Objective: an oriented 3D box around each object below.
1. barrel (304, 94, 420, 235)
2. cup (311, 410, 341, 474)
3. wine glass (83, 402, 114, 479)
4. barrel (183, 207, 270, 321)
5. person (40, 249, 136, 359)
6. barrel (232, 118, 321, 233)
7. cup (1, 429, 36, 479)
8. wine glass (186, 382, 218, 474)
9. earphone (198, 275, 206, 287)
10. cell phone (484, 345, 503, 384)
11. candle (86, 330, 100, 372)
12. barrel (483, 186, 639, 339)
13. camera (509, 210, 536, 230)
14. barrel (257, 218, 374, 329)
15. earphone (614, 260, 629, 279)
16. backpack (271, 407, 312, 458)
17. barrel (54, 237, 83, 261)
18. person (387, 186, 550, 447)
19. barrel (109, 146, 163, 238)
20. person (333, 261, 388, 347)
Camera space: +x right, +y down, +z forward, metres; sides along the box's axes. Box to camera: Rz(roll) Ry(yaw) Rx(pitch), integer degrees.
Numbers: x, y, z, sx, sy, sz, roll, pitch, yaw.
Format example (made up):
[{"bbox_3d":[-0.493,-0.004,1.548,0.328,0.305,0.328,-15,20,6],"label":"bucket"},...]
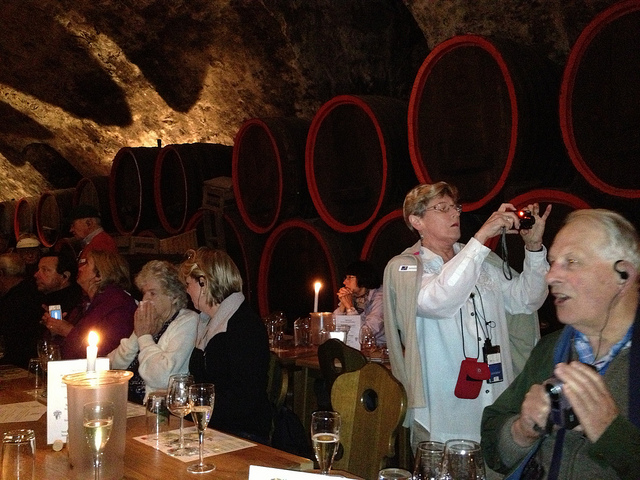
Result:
[{"bbox_3d":[0.325,-0.707,4.566,0.714,1.262,1.044,-3,8,-18],"label":"barrel"},{"bbox_3d":[0.017,0.739,1.833,0.100,0.229,0.267,2,-10,1],"label":"cup"},{"bbox_3d":[-0.800,0.716,1.813,0.092,0.286,0.153,6,-10,-25],"label":"wine glass"},{"bbox_3d":[-1.384,0.246,6.211,1.050,1.305,1.636,-1,0,17],"label":"barrel"},{"bbox_3d":[-2.026,0.560,4.388,0.469,0.862,0.434,12,-37,-17],"label":"person"},{"bbox_3d":[-0.438,-0.707,5.813,1.086,1.163,1.150,-22,-14,39],"label":"barrel"},{"bbox_3d":[-0.999,0.706,1.691,0.100,0.140,0.182,8,-11,-31],"label":"cup"},{"bbox_3d":[-0.497,0.767,2.140,0.131,0.334,0.289,5,-10,-16],"label":"wine glass"},{"bbox_3d":[-0.780,0.273,3.336,0.040,0.062,0.014,4,6,25],"label":"earphone"},{"bbox_3d":[0.995,0.710,2.882,0.030,0.198,0.111,9,-20,-21],"label":"cell phone"},{"bbox_3d":[-0.915,0.439,2.043,0.037,0.147,0.221,6,-10,-24],"label":"candle"},{"bbox_3d":[1.543,0.134,3.288,0.456,0.946,0.977,5,-10,-17],"label":"barrel"},{"bbox_3d":[1.127,-0.110,2.817,0.102,0.085,0.044,-6,-1,27],"label":"camera"},{"bbox_3d":[-0.169,0.328,5.265,0.511,1.004,1.277,9,-12,-37],"label":"barrel"},{"bbox_3d":[1.088,0.106,1.843,0.055,0.066,0.018,6,-9,-19],"label":"earphone"},{"bbox_3d":[-0.190,1.203,3.230,0.226,0.383,0.233,-15,-9,-9],"label":"backpack"},{"bbox_3d":[-3.622,0.134,7.346,0.235,0.249,0.243,33,10,22],"label":"barrel"},{"bbox_3d":[0.921,0.655,3.253,0.785,2.173,0.796,-7,27,6],"label":"person"},{"bbox_3d":[-2.609,-0.679,7.123,0.596,1.765,0.629,-1,5,0],"label":"barrel"},{"bbox_3d":[0.373,0.588,4.706,0.464,0.754,0.660,1,-9,7],"label":"person"}]
